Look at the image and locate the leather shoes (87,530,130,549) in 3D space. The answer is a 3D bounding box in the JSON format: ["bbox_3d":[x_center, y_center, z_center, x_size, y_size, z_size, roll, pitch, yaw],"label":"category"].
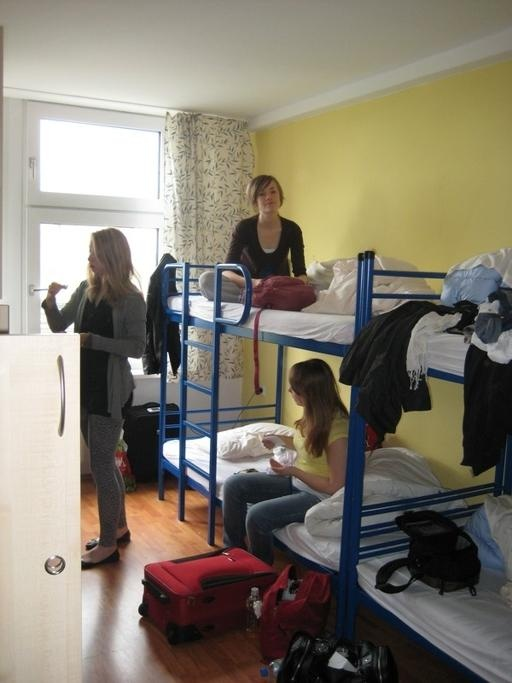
[{"bbox_3d":[-0.735,0.996,2.788,0.223,0.092,0.080,5,-5,-32],"label":"leather shoes"}]

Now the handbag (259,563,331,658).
[{"bbox_3d":[0.128,0.899,1.843,0.156,0.277,0.235,29,13,38],"label":"handbag"}]

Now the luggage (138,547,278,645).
[{"bbox_3d":[-0.187,0.972,2.169,0.470,0.229,0.337,4,0,-32],"label":"luggage"}]

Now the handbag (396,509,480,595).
[{"bbox_3d":[0.578,0.653,1.808,0.221,0.120,0.334,-4,22,-13],"label":"handbag"}]

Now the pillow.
[{"bbox_3d":[-0.055,0.578,3.234,0.302,0.091,0.261,-5,3,-31],"label":"pillow"}]

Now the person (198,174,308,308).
[{"bbox_3d":[0.045,-0.571,3.158,0.705,0.722,0.485,4,7,5],"label":"person"}]

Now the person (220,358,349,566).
[{"bbox_3d":[0.132,0.561,2.369,0.510,0.955,0.398,-3,18,-22],"label":"person"}]
